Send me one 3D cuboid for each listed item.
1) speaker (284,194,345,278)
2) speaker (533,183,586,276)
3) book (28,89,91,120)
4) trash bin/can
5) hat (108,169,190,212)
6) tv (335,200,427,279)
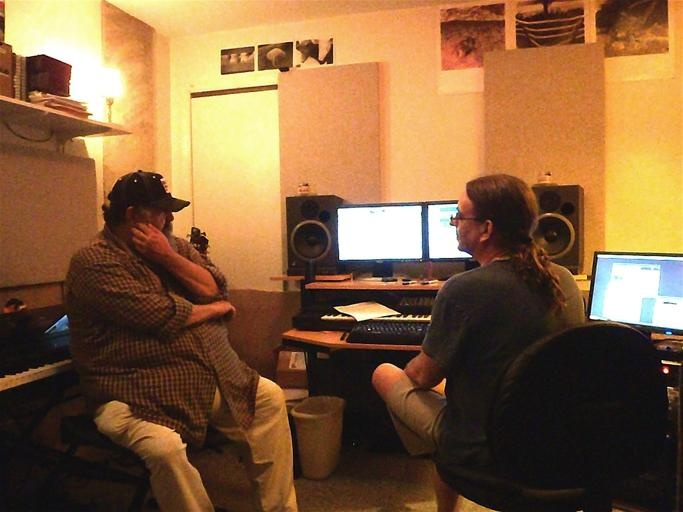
[{"bbox_3d":[-0.156,-0.125,3.816,0.343,0.466,0.282,-7,-10,14],"label":"speaker"},{"bbox_3d":[1.332,-0.161,3.596,0.342,0.502,0.318,-2,1,31],"label":"speaker"},{"bbox_3d":[-1.581,-0.848,3.315,0.319,0.138,0.147,-3,8,-28],"label":"book"},{"bbox_3d":[-0.126,0.972,3.396,0.360,0.461,0.481,-4,-2,15],"label":"trash bin/can"},{"bbox_3d":[-0.914,-0.314,2.795,0.366,0.180,0.231,3,10,-4],"label":"hat"},{"bbox_3d":[0.259,-0.109,3.749,0.547,0.434,0.173,0,4,10],"label":"tv"}]
